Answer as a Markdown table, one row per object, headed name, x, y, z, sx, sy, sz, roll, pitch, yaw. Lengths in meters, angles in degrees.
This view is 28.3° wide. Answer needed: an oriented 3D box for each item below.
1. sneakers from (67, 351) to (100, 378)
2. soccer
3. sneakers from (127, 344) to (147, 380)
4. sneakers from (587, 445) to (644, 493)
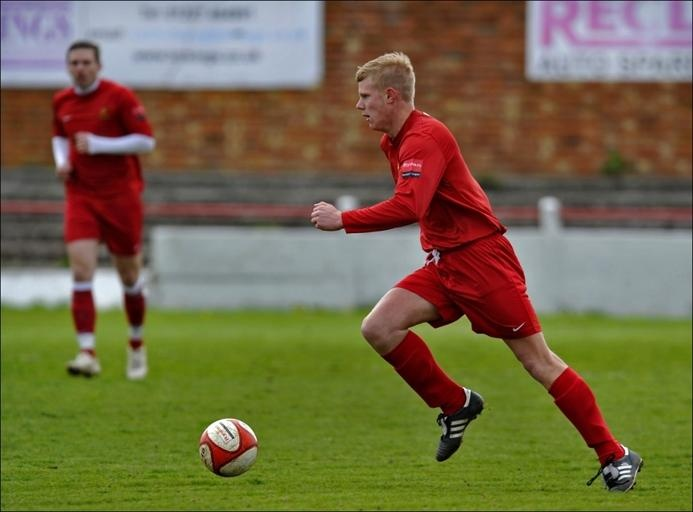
| name | x | y | z | sx | sy | sz | roll | pitch | yaw |
| --- | --- | --- | --- | --- | --- | --- | --- | --- | --- |
| sneakers | -2.333 | 0.959 | 12.220 | 0.298 | 0.275 | 0.262 | -5 | 12 | -17 |
| soccer | -0.950 | 1.559 | 11.046 | 0.455 | 0.506 | 0.228 | -3 | 11 | -8 |
| sneakers | -1.932 | 0.906 | 12.610 | 0.226 | 0.434 | 0.155 | -3 | -31 | -11 |
| sneakers | 2.194 | 1.760 | 11.017 | 0.280 | 0.209 | 0.578 | 31 | 41 | 6 |
